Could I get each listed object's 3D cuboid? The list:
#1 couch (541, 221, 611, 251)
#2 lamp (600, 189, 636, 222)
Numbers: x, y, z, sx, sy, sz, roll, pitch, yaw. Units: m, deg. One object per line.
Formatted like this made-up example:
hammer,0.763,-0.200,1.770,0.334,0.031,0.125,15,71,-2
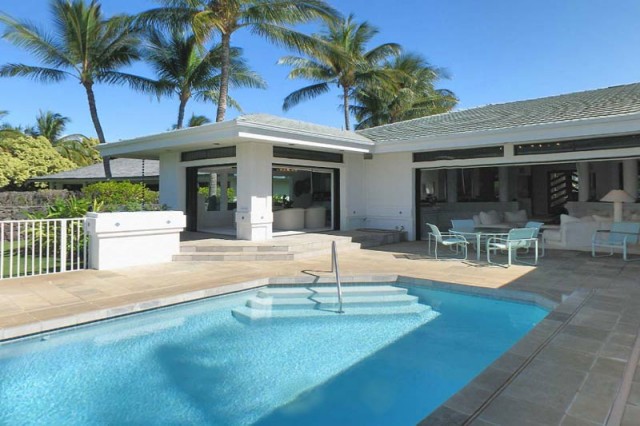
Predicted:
couch,7.475,0.410,11.699,1.480,0.849,0.921,-1,6,3
lamp,8.431,-0.240,11.113,0.543,0.825,0.766,2,15,12
